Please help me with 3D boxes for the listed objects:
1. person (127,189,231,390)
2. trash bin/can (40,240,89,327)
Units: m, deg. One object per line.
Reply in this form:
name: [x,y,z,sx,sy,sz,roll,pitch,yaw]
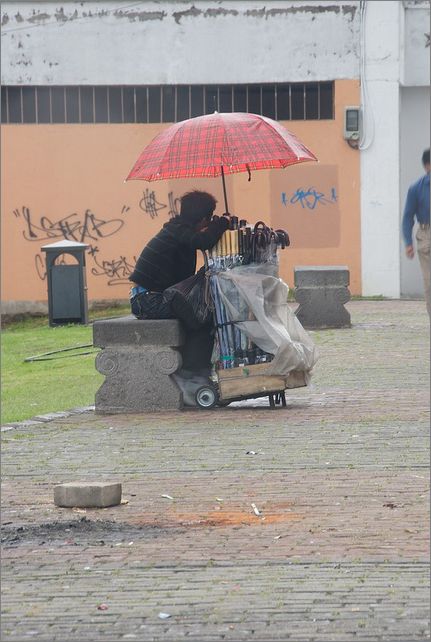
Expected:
person: [-0.225,-0.296,11.302,0.663,1.621,0.758,0,1,22]
trash bin/can: [-2.065,-0.503,20.343,0.631,1.157,0.469,-4,6,-5]
